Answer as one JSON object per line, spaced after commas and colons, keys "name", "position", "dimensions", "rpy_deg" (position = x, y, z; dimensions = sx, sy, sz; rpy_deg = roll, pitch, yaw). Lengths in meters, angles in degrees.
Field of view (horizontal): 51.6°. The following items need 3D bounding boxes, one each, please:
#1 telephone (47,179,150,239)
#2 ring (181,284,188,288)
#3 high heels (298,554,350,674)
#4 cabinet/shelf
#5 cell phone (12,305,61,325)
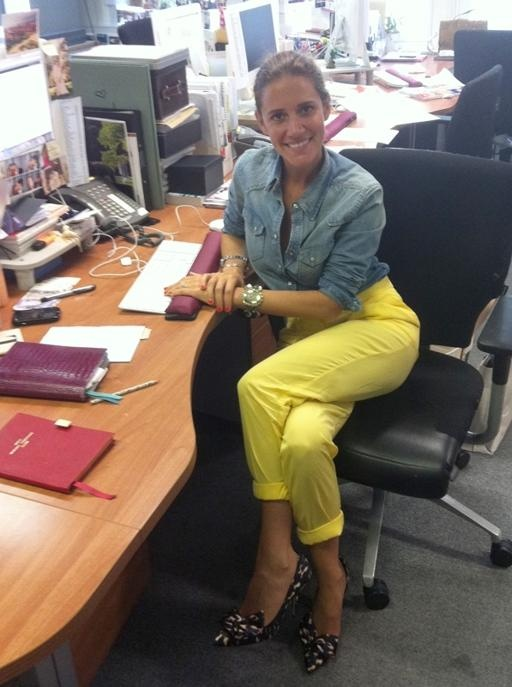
{"name": "telephone", "position": [-0.486, -0.435, 1.653], "dimensions": [0.247, 0.099, 0.179], "rpy_deg": [32, 44, 4]}
{"name": "ring", "position": [-0.170, -0.136, 1.264], "dimensions": [0.010, 0.003, 0.009], "rpy_deg": [2, 37, -1]}
{"name": "high heels", "position": [0.149, 0.614, 1.229], "dimensions": [0.064, 0.241, 0.099], "rpy_deg": [19, -9, -42]}
{"name": "cabinet/shelf", "position": [-0.427, -0.843, 1.945], "dimensions": [0.310, 0.385, 0.421], "rpy_deg": [10, 34, 12]}
{"name": "cell phone", "position": [-0.501, -0.064, 1.188], "dimensions": [0.073, 0.015, 0.051], "rpy_deg": [-2, 35, -7]}
